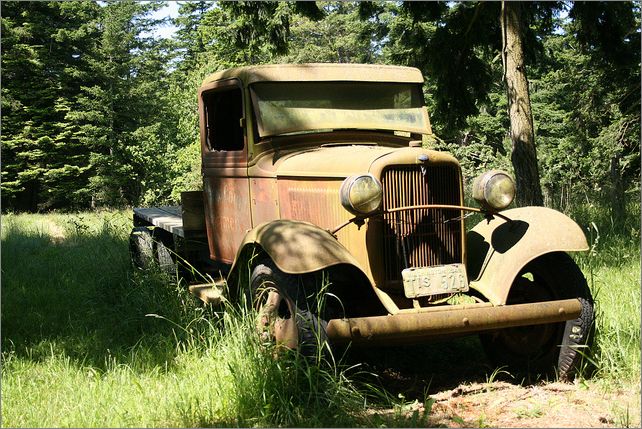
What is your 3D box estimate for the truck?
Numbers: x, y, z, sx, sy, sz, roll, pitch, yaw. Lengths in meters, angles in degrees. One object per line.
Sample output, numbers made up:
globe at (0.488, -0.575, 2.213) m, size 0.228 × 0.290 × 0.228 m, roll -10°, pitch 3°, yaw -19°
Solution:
truck at (0.394, -0.044, 6.879) m, size 5.650 × 3.684 × 2.573 m, roll 8°, pitch 12°, yaw 27°
